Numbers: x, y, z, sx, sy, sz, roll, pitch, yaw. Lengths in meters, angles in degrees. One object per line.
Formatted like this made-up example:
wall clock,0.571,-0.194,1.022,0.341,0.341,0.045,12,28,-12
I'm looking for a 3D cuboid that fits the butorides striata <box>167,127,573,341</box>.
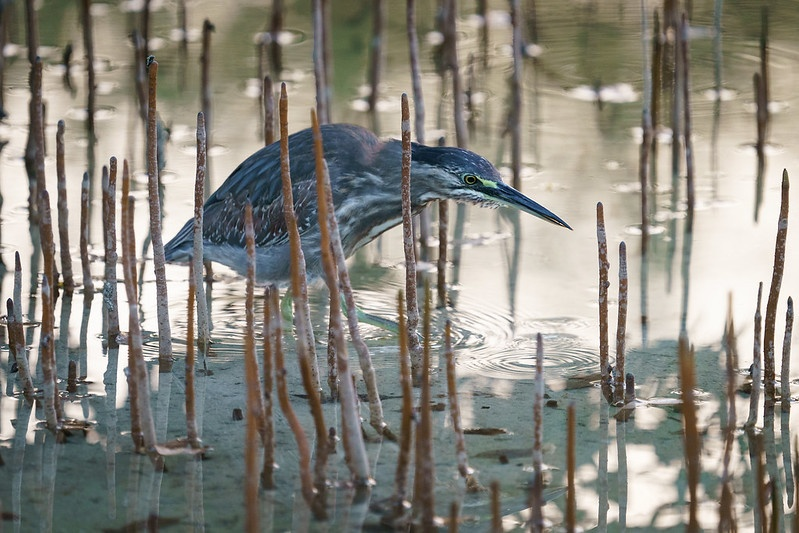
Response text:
butorides striata,-0.411,-0.286,7.535,2.267,1.424,0.464,-1,-12,1
